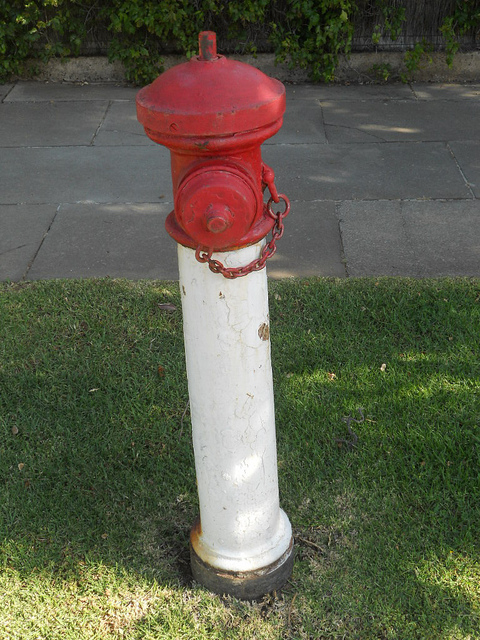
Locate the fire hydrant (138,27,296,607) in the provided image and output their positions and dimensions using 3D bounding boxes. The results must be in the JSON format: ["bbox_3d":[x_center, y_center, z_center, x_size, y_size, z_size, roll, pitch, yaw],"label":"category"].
[{"bbox_3d":[-0.011,0.154,1.908,0.429,1.861,0.408,-6,32,-7],"label":"fire hydrant"}]
